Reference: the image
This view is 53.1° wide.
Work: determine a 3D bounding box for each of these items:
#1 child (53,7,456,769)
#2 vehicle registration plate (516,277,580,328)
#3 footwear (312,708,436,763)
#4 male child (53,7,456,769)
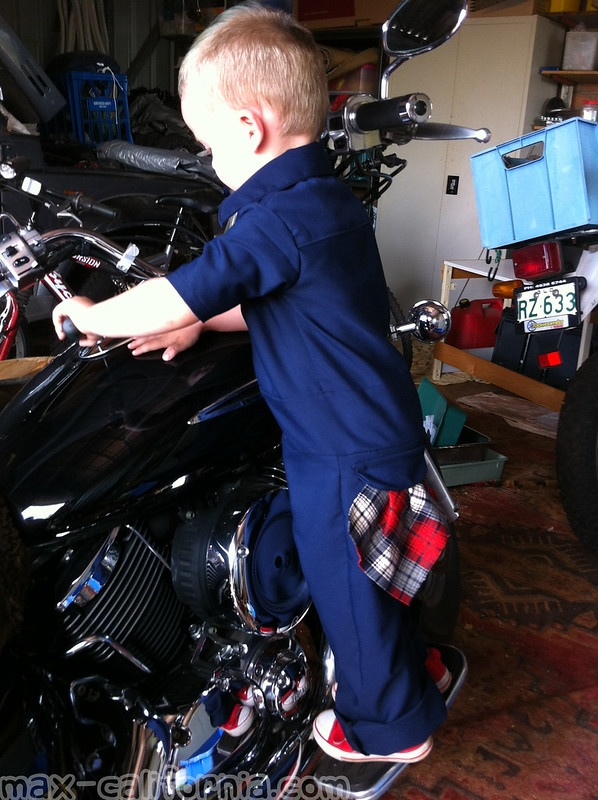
[{"bbox_3d":[-0.028,0.032,0.757,0.425,0.998,0.216,-12,16,-23],"label":"child"},{"bbox_3d":[0.820,-0.310,1.963,0.024,0.117,0.181,-2,0,-39],"label":"vehicle registration plate"},{"bbox_3d":[0.108,0.487,0.885,0.176,0.067,0.075,8,22,11],"label":"footwear"},{"bbox_3d":[-0.029,0.032,0.757,0.425,0.998,0.216,-12,16,-23],"label":"male child"}]
